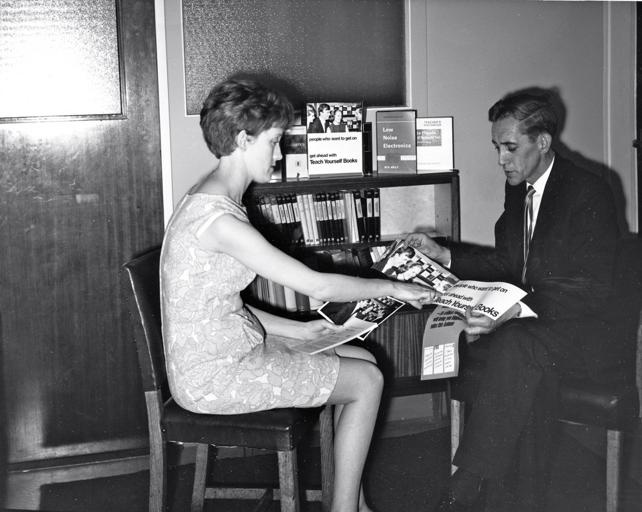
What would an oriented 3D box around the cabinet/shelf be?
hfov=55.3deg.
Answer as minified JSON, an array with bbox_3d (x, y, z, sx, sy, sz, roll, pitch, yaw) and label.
[{"bbox_3d":[0.113,0.121,2.569,1.097,1.081,0.354,-1,6,-10],"label":"cabinet/shelf"}]
